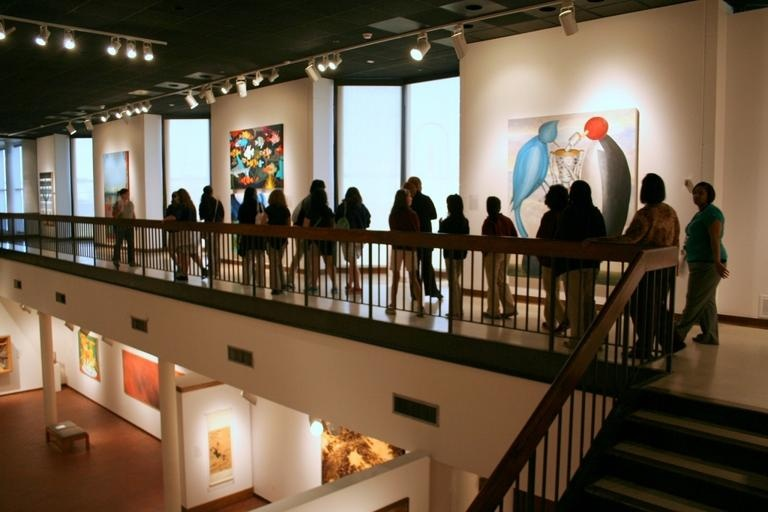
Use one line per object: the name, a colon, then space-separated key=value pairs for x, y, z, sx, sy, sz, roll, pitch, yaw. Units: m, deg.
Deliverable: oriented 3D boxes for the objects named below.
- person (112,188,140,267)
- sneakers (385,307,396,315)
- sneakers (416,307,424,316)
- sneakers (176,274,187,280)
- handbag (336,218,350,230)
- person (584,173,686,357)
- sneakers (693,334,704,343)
person: x=-5.328 y=-0.593 z=12.461 sx=0.442 sy=1.486 sz=2.056 roll=-3 pitch=8 yaw=-23
sneakers: x=0.103 y=0.757 z=8.166 sx=0.064 sy=0.066 sz=0.146 roll=-1 pitch=7 yaw=-24
sneakers: x=0.471 y=0.752 z=8.066 sx=0.094 sy=0.109 sz=0.184 roll=-2 pitch=-2 yaw=-3
sneakers: x=-3.530 y=0.393 z=10.655 sx=0.244 sy=0.117 sz=0.094 roll=3 pitch=6 yaw=27
handbag: x=-0.635 y=-0.484 z=9.402 sx=0.205 sy=0.236 sz=0.083 roll=1 pitch=-18 yaw=29
person: x=2.978 y=0.131 z=6.720 sx=0.650 sy=2.038 sz=1.150 roll=4 pitch=9 yaw=33
sneakers: x=4.004 y=1.052 z=7.676 sx=0.055 sy=0.126 sz=0.173 roll=-1 pitch=12 yaw=-10
